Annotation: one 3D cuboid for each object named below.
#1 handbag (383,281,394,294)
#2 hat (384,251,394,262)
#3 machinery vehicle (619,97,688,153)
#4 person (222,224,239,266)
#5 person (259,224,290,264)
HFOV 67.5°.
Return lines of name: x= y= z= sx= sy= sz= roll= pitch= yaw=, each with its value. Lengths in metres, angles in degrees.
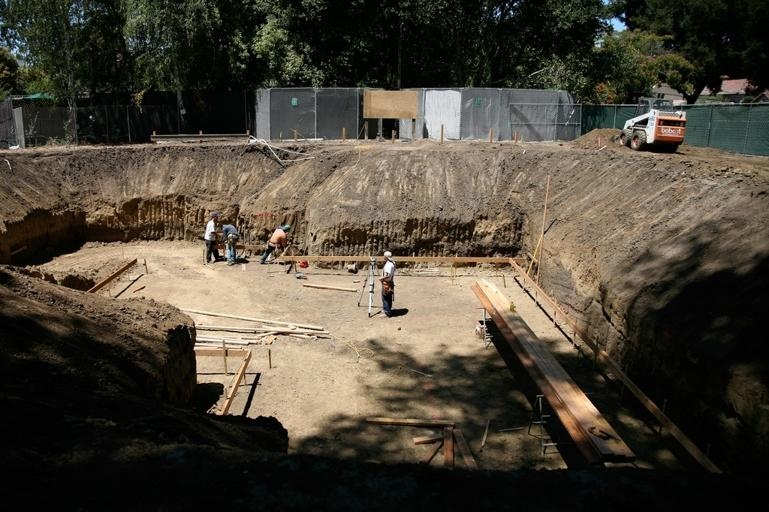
handbag: x=0.114 y=0.850 z=16.487 sx=0.343 sy=0.323 sz=0.316 roll=-5 pitch=54 yaw=-16
hat: x=0.100 y=0.002 z=16.428 sx=0.231 sy=0.301 sz=0.304 roll=-5 pitch=9 yaw=-34
machinery vehicle: x=11.462 y=-5.495 z=24.262 sx=1.622 sy=2.090 sz=2.333 roll=0 pitch=15 yaw=-1
person: x=-5.692 y=-0.487 z=21.140 sx=0.505 sy=1.350 sz=1.137 roll=-5 pitch=16 yaw=-16
person: x=-4.066 y=-0.494 z=21.133 sx=1.018 sy=1.424 sz=1.221 roll=-3 pitch=16 yaw=-9
